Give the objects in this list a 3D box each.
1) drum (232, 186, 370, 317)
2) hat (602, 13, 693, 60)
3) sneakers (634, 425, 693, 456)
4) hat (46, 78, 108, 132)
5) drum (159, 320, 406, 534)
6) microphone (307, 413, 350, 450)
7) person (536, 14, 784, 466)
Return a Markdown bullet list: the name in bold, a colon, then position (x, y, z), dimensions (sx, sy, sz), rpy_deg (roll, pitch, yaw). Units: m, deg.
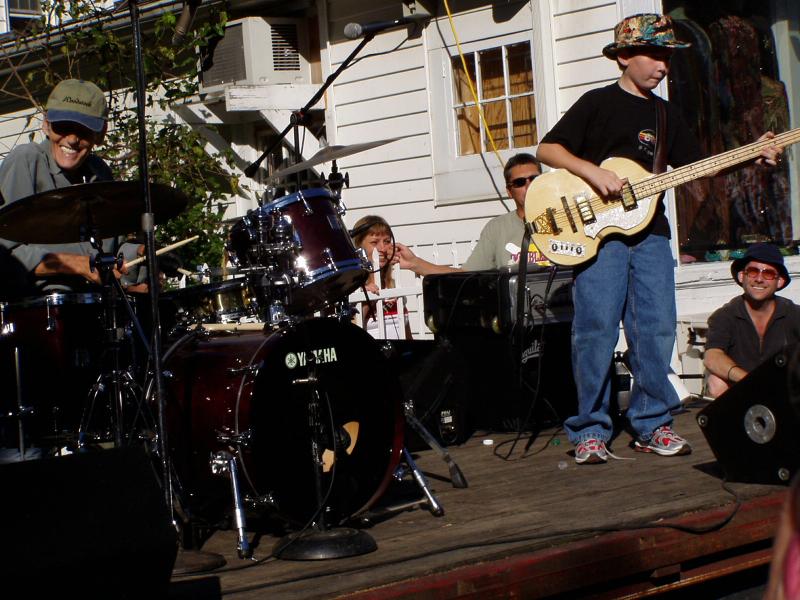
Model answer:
- **drum**: position (-0.508, -0.247, 4.871), dimensions (0.738, 0.565, 0.431), rpy_deg (-9, 3, -35)
- **hat**: position (1.307, -1.423, 5.266), dimensions (0.408, 0.173, 0.248), rpy_deg (-7, 3, 16)
- **sneakers**: position (1.451, 0.777, 5.347), dimensions (0.127, 0.149, 0.274), rpy_deg (4, -7, -43)
- **hat**: position (-1.713, -1.021, 5.159), dimensions (0.219, 0.173, 0.317), rpy_deg (16, 11, -22)
- **drum**: position (-0.614, 0.388, 4.706), dimensions (0.978, 1.043, 0.781), rpy_deg (-2, 14, -30)
- **microphone**: position (-0.316, 0.595, 4.382), dimensions (0.188, 0.154, 0.165), rpy_deg (-8, 3, -13)
- **person**: position (1.417, -0.330, 5.234), dimensions (1.266, 2.375, 0.599), rpy_deg (2, -1, 15)
